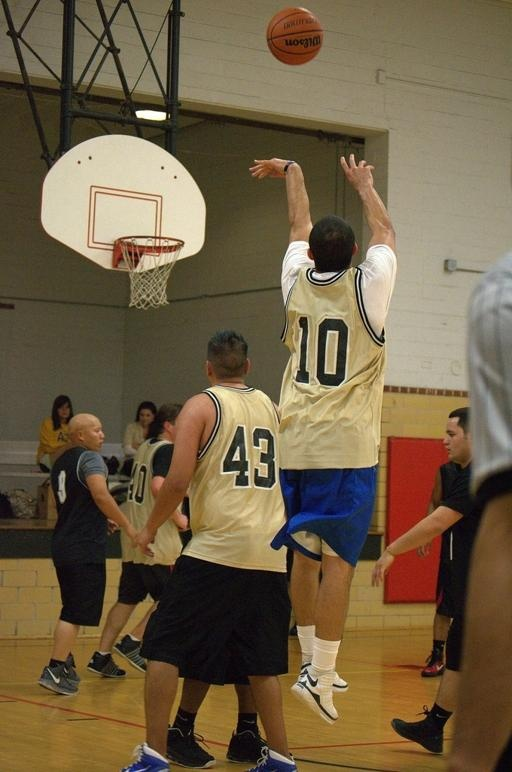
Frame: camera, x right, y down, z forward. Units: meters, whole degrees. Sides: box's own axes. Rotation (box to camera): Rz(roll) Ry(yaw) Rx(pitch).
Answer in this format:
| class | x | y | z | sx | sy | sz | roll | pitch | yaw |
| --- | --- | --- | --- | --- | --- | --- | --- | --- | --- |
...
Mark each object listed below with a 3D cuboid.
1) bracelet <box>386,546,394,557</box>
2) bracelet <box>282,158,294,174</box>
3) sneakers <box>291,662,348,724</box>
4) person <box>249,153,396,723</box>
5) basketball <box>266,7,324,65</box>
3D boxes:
| class | x | y | z | sx | sy | sz | roll | pitch | yaw |
| --- | --- | --- | --- | --- | --- | --- | --- | --- | --- |
| bracelet | 0.659 | 0.830 | 3.951 | 0.037 | 0.045 | 0.049 | 3 | 3 | 39 |
| bracelet | 0.173 | -1.118 | 3.963 | 0.060 | 0.079 | 0.072 | -4 | 8 | -24 |
| sneakers | 0.243 | 1.274 | 3.283 | 0.190 | 0.228 | 0.142 | 6 | -1 | 4 |
| person | 0.299 | 0.150 | 3.454 | 0.434 | 2.249 | 0.639 | 6 | -1 | -14 |
| basketball | 0.311 | -2.960 | 6.561 | 0.454 | 0.467 | 0.238 | 6 | -1 | -1 |
